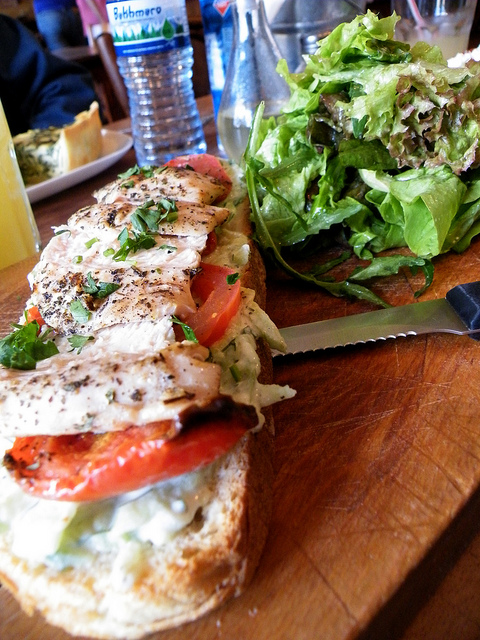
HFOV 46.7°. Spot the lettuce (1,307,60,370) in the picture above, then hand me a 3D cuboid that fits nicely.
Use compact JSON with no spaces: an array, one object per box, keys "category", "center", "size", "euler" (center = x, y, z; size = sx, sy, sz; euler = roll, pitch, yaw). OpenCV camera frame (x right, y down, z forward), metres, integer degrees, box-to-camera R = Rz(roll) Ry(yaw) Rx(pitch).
[{"category":"lettuce","center":[-0.376,0.038,0.996],"size":[0.095,0.043,0.085],"euler":[5,51,-6]}]

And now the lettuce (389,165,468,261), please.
[{"category":"lettuce","center":[0.484,-0.294,1.435],"size":[0.185,0.114,0.283],"euler":[9,38,25]}]

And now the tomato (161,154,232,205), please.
[{"category":"tomato","center":[-0.121,-0.381,1.524],"size":[0.265,0.081,0.220],"euler":[-1,45,0]}]

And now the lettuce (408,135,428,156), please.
[{"category":"lettuce","center":[0.484,-0.467,1.495],"size":[0.048,0.045,0.014],"euler":[4,22,22]}]

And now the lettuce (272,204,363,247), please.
[{"category":"lettuce","center":[0.221,-0.275,1.606],"size":[0.249,0.032,0.060],"euler":[-23,41,-5]}]

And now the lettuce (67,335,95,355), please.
[{"category":"lettuce","center":[-0.297,0.046,1.018],"size":[0.035,0.017,0.035],"euler":[21,41,13]}]

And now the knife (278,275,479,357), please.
[{"category":"knife","center":[0.340,-0.004,1.315],"size":[0.546,0.059,0.101],"euler":[-11,43,9]}]

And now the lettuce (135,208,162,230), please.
[{"category":"lettuce","center":[-0.213,-0.225,1.239],"size":[0.055,0.015,0.051],"euler":[14,41,12]}]

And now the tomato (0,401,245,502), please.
[{"category":"tomato","center":[-0.192,0.211,0.883],"size":[0.281,0.058,0.205],"euler":[-13,7,-7]}]

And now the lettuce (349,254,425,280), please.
[{"category":"lettuce","center":[0.375,-0.137,1.434],"size":[0.161,0.034,0.072],"euler":[-5,35,11]}]

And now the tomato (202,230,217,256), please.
[{"category":"tomato","center":[-0.077,-0.193,1.396],"size":[0.041,0.015,0.061],"euler":[0,49,15]}]

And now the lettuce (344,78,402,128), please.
[{"category":"lettuce","center":[0.346,-0.574,1.470],"size":[0.150,0.112,0.108],"euler":[7,37,18]}]
